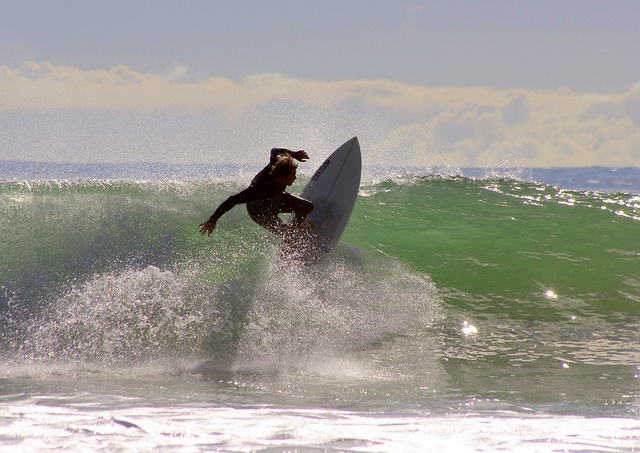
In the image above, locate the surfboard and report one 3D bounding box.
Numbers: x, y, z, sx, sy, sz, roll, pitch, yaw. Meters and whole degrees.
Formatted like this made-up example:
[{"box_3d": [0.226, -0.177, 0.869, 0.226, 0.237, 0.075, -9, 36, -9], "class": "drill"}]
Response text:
[{"box_3d": [0.144, -0.360, 14.898, 0.993, 3.753, 0.388, 36, 63, 10], "class": "surfboard"}]
